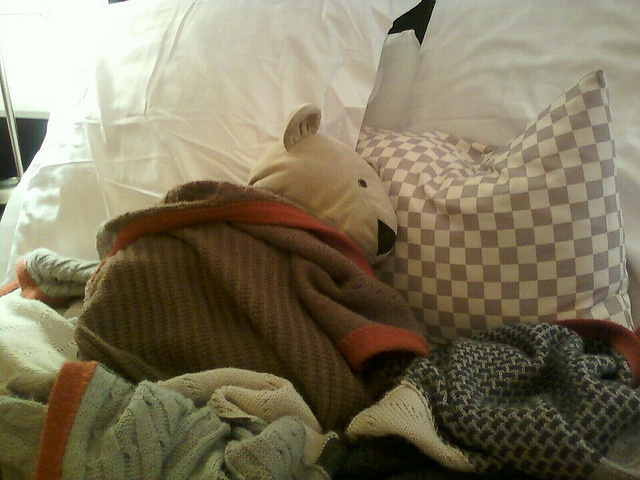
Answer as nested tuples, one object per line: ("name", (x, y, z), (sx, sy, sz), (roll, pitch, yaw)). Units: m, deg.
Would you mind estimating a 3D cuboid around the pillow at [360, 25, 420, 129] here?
("pillow", (0.178, -0.373, 1.339), (0.166, 0.221, 0.059), (13, 9, 38))
